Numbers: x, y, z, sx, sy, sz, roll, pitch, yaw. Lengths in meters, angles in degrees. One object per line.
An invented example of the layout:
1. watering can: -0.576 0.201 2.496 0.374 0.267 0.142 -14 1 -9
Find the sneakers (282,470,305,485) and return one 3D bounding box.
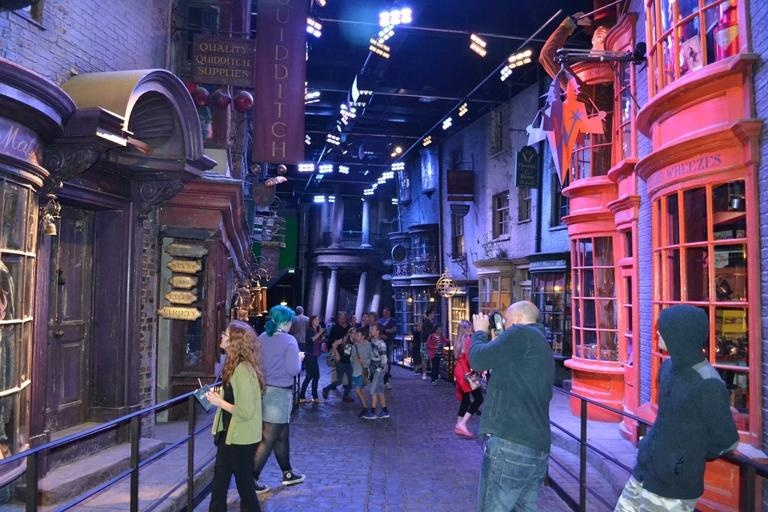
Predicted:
1. sneakers: -1.434 3.499 10.513 0.402 0.198 0.159 1 -2 -28

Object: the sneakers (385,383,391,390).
1. sneakers: 0.118 3.950 20.023 0.116 0.125 0.293 0 -10 -9

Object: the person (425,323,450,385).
1. person: 1.666 3.162 21.443 0.519 1.868 0.956 -2 -7 4

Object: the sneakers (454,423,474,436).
1. sneakers: 1.601 3.577 13.599 0.187 0.145 0.331 11 -11 -34

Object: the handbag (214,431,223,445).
1. handbag: -2.148 2.394 8.663 0.135 0.187 0.185 2 -13 -4
